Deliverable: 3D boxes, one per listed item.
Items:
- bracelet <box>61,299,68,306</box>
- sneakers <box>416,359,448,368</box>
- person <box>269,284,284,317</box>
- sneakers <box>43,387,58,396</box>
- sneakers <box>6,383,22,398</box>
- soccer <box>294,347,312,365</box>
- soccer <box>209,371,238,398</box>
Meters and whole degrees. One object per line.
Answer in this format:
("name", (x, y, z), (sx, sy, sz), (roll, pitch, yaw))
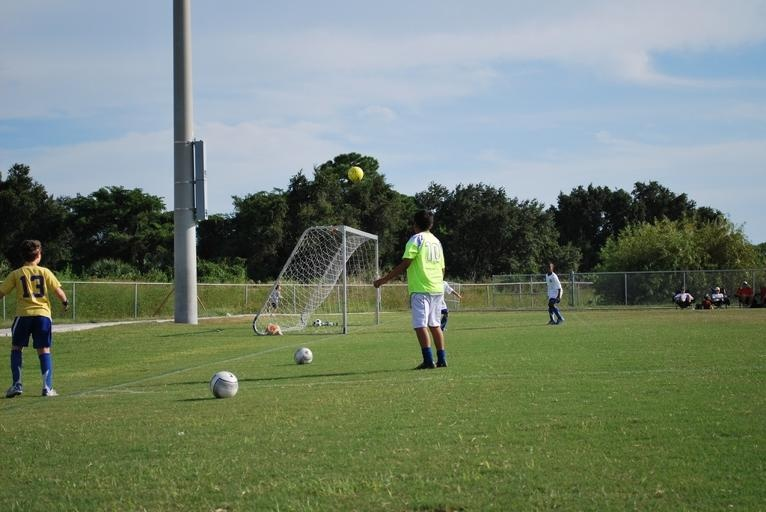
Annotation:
("bracelet", (-5.039, 0.758, 15.672), (0.062, 0.126, 0.184), (1, -3, -13))
("sneakers", (0.828, 1.862, 16.765), (0.514, 0.228, 0.179), (-3, -4, 34))
("person", (-3.340, 1.450, 30.946), (0.280, 0.906, 0.900), (20, 7, -4))
("sneakers", (-5.111, 2.103, 15.251), (0.112, 0.128, 0.287), (0, -2, 44))
("sneakers", (-5.712, 2.086, 15.281), (0.253, 0.201, 0.206), (0, 3, -2))
("soccer", (-1.444, 1.861, 18.074), (0.278, 0.276, 0.280), (-6, -20, -22))
("soccer", (-2.377, 1.953, 14.852), (0.401, 0.357, 0.353), (0, 3, -14))
